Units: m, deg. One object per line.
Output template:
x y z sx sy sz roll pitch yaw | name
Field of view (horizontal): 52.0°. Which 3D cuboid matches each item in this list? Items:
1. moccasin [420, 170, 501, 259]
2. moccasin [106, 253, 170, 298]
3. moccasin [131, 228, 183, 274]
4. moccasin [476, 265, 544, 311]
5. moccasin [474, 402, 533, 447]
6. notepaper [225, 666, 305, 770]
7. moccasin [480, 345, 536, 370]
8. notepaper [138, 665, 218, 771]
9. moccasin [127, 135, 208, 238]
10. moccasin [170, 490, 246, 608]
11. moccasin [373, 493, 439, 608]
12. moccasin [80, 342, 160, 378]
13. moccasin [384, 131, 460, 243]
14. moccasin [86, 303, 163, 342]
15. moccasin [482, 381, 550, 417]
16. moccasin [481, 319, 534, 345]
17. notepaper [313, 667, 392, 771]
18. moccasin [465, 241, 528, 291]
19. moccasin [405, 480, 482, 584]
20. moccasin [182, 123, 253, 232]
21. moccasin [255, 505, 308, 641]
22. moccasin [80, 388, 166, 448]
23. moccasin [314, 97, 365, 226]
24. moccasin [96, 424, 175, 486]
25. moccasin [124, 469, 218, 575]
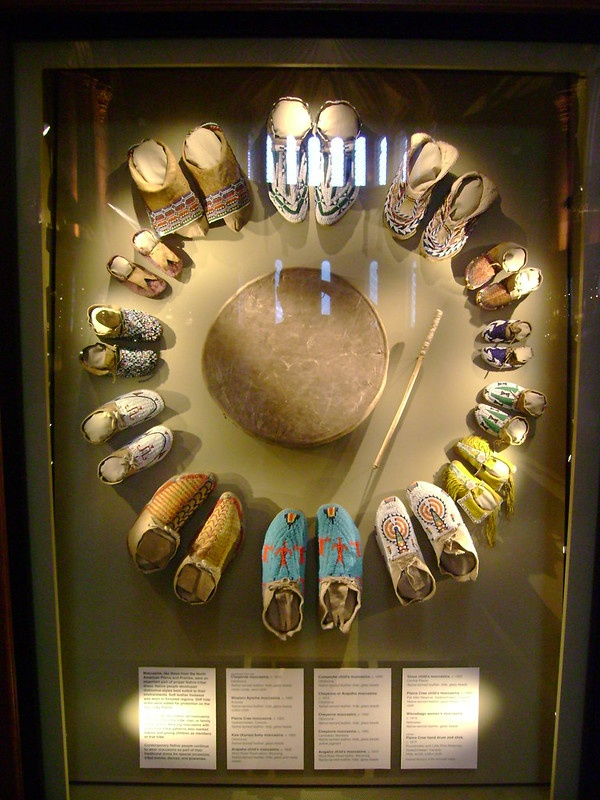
0.528 -0.615 2.118 0.185 0.124 0.338 32 -79 -4 | moccasin
-0.540 -0.413 2.111 0.213 0.064 0.101 32 -87 -6 | moccasin
-0.473 -0.498 2.114 0.094 0.070 0.197 -43 -73 3 | moccasin
0.703 -0.373 2.123 0.279 0.111 0.099 -24 -87 15 | moccasin
0.683 0.087 2.091 0.198 0.079 0.108 29 -84 10 | moccasin
-0.111 1.093 2.081 0.349 0.034 0.422 -1 -90 2 | notepaper
0.703 -0.144 2.072 0.160 0.067 0.074 0 -84 9 | moccasin
-0.401 1.099 2.091 0.352 0.031 0.412 -1 -92 4 | notepaper
-0.434 -0.689 2.093 0.181 0.138 0.357 -28 -74 4 | moccasin
-0.297 0.514 2.081 0.160 0.173 0.441 26 -88 2 | moccasin
0.355 0.518 2.152 0.141 0.164 0.409 -15 -104 9 | moccasin
-0.597 -0.139 2.058 0.260 0.104 0.108 2 -85 -6 | moccasin
0.386 -0.701 1.975 0.201 0.126 0.345 21 -76 6 | moccasin
-0.575 -0.258 2.055 0.232 0.089 0.107 5 -86 -8 | moccasin
0.733 -0.007 2.139 0.225 0.090 0.095 13 -86 6 | moccasin
0.694 -0.232 2.079 0.150 0.055 0.073 -2 -86 10 | moccasin
0.169 1.087 2.082 0.348 0.034 0.422 -1 -89 2 | notepaper
0.659 -0.455 2.110 0.264 0.104 0.097 -30 -85 17 | moccasin
0.490 0.449 2.150 0.146 0.166 0.417 -24 -91 11 | moccasin
-0.257 -0.721 2.046 0.178 0.114 0.328 -25 -82 8 | moccasin
-0.057 0.576 2.077 0.154 0.156 0.425 -2 -99 5 | moccasin
-0.586 0.049 2.116 0.305 0.121 0.130 -22 -80 -8 | moccasin
0.138 -0.747 1.937 0.148 0.101 0.353 -1 -73 -4 | moccasin
-0.547 0.186 2.133 0.316 0.127 0.129 -29 -82 -5 | moccasin
-0.446 0.409 2.172 0.196 0.157 0.405 40 -89 -11 | moccasin
